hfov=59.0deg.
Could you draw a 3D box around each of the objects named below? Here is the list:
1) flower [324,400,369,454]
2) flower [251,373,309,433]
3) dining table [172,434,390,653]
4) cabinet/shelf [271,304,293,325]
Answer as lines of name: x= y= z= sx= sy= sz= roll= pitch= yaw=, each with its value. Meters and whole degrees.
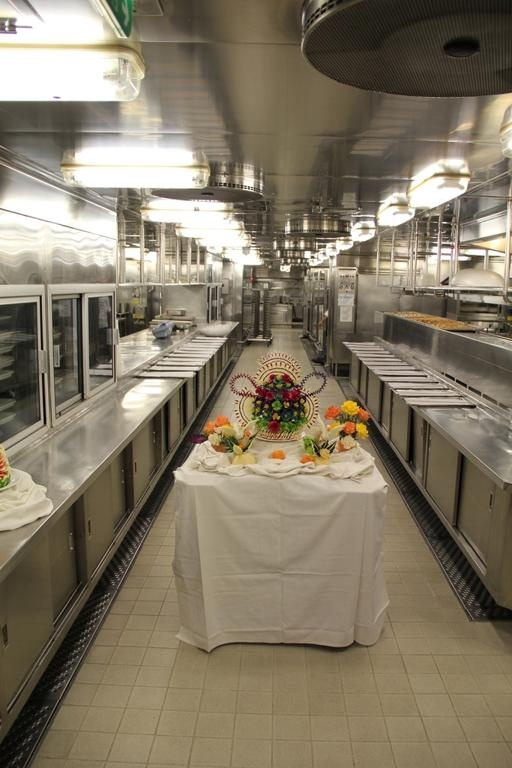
flower: x=0.600 y=0.260 z=2.991 sx=0.268 sy=0.299 sz=0.276 roll=-13 pitch=30 yaw=-25
flower: x=0.169 y=0.119 z=2.952 sx=0.316 sy=0.358 sz=0.352 roll=-8 pitch=8 yaw=-15
dining table: x=0.208 y=1.187 z=2.904 sx=1.154 sy=0.936 sz=1.281 roll=-1 pitch=-20 yaw=8
cabinet/shelf: x=1.395 y=-3.739 z=25.699 sx=1.303 sy=1.434 sz=0.985 roll=-1 pitch=3 yaw=2
